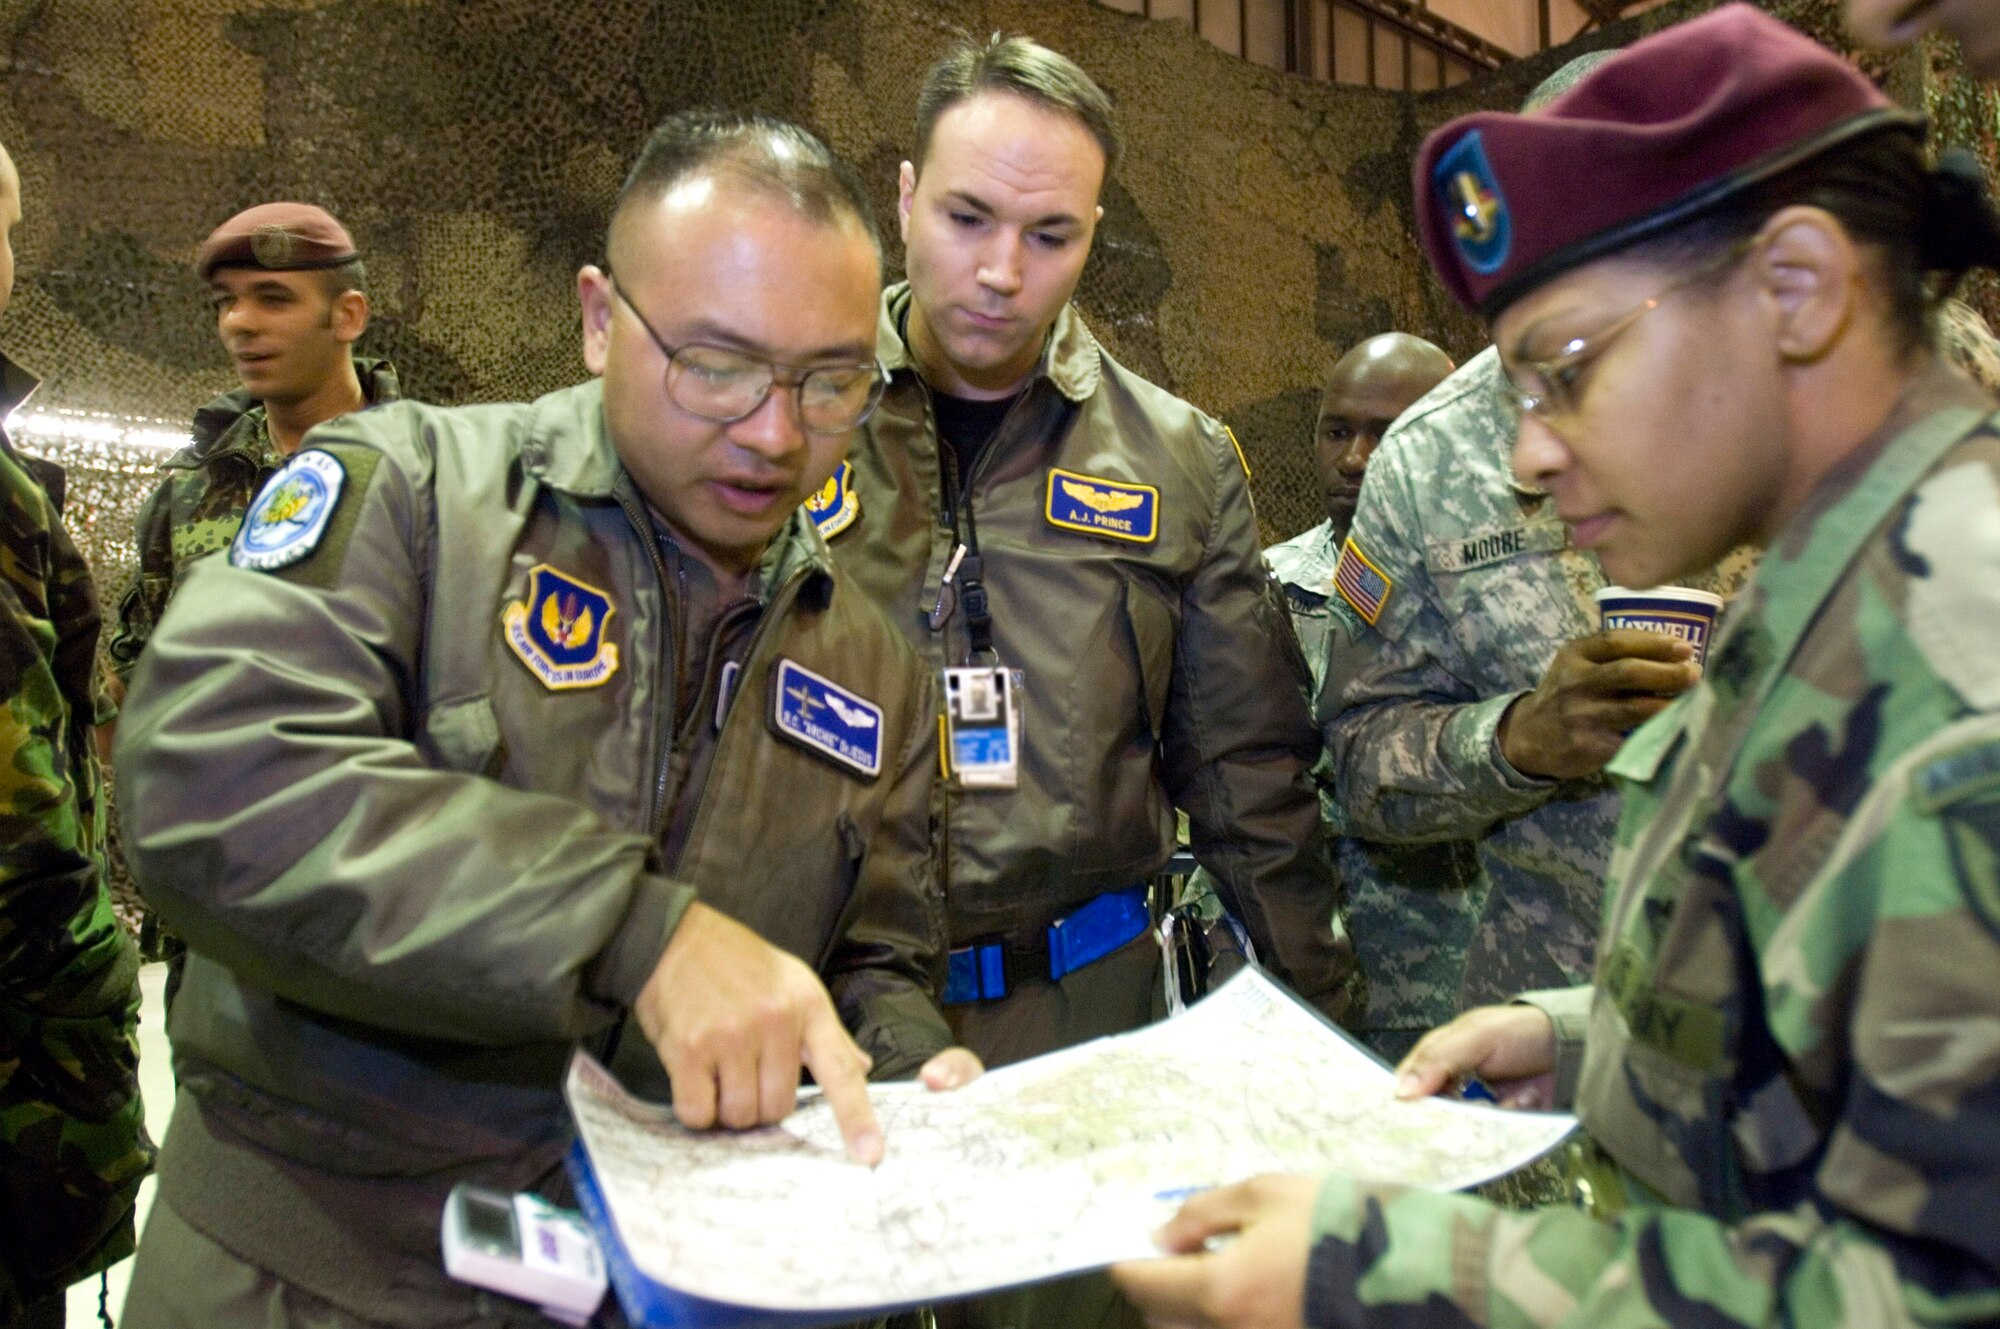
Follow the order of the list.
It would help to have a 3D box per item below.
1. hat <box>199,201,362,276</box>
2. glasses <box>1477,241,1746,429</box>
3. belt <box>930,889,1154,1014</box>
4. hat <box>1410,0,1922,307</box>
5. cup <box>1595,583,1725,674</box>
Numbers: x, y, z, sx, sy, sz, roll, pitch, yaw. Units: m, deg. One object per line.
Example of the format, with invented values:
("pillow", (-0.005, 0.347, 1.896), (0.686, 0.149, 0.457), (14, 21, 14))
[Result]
("hat", (-2.047, -1.185, 4.545), (0.326, 0.116, 0.290), (-5, 15, -7))
("glasses", (0.640, -0.370, 1.688), (0.203, 0.113, 0.161), (-36, 1, 9))
("belt", (0.095, 0.510, 2.921), (0.301, 0.080, 0.182), (-22, 1, -5))
("hat", (0.676, -0.518, 1.678), (0.395, 0.156, 0.309), (-27, 5, 7))
("cup", (0.950, -0.050, 2.295), (0.131, 0.098, 0.129), (3, -7, 0))
